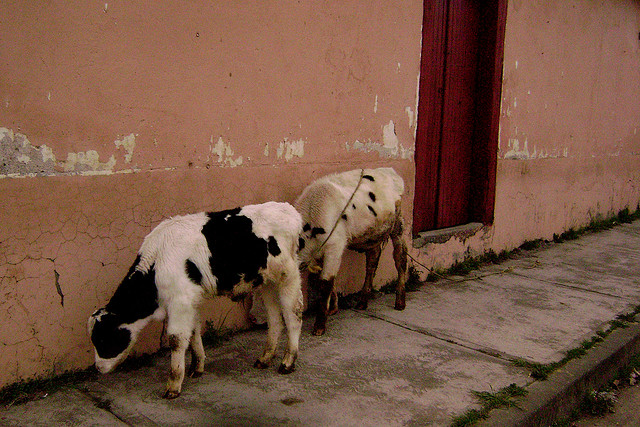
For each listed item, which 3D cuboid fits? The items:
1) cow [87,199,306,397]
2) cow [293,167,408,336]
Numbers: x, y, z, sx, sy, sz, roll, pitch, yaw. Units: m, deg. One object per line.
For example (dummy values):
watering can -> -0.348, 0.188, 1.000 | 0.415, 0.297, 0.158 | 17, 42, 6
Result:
cow -> -1.173, 0.885, 6.711 | 2.116, 1.841, 0.684 | -8, 10, -22
cow -> 0.356, 0.415, 7.798 | 1.631, 1.763, 0.449 | -9, 12, -38
